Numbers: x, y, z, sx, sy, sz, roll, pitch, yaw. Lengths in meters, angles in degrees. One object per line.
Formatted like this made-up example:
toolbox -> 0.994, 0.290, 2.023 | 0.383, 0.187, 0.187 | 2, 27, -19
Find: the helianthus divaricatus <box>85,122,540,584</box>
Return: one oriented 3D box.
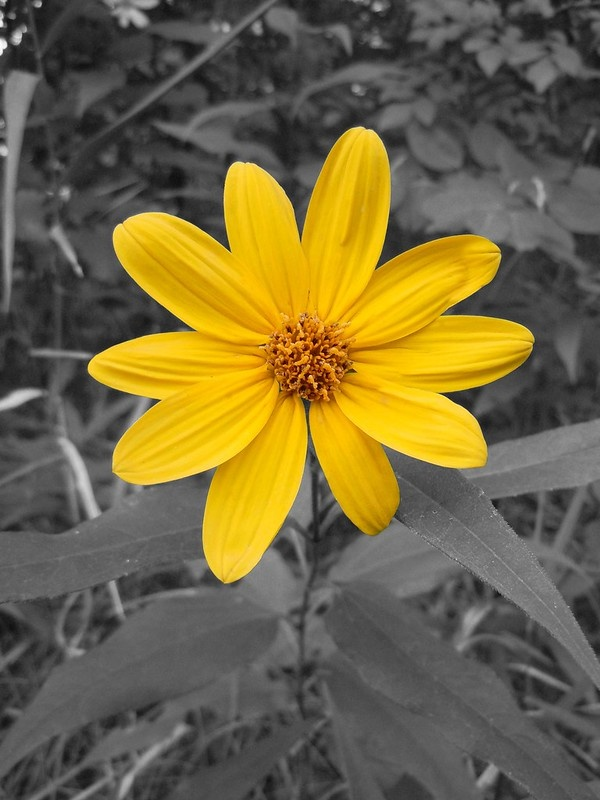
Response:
helianthus divaricatus -> 0.002, -0.061, 0.741 | 0.389, 0.249, 0.346 | -12, 50, -15
